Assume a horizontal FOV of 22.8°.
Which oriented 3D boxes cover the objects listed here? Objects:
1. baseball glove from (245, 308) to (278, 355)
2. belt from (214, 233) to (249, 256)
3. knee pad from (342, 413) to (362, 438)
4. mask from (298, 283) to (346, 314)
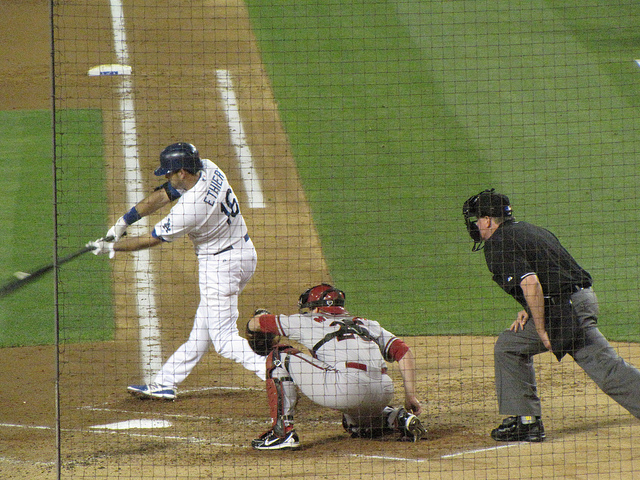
[{"bbox_3d":[-0.795,1.179,21.101,0.572,0.556,0.516,-3,38,-2],"label":"baseball glove"},{"bbox_3d":[-1.153,0.060,21.381,0.402,0.090,0.274,-26,6,-4],"label":"belt"},{"bbox_3d":[0.443,2.398,20.790,0.272,0.268,0.115,4,15,15],"label":"knee pad"},{"bbox_3d":[-0.062,0.746,20.632,0.546,0.382,0.424,7,6,42],"label":"mask"}]
